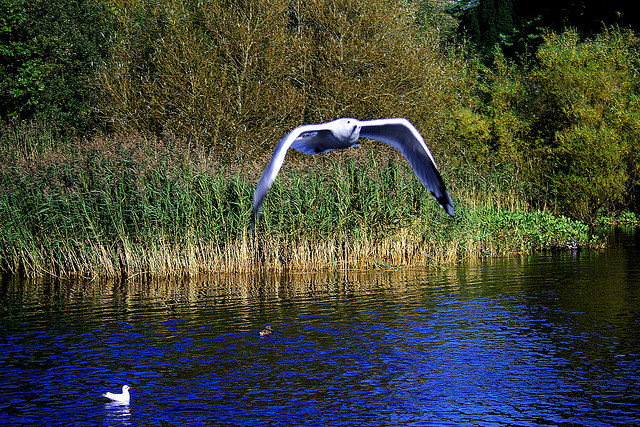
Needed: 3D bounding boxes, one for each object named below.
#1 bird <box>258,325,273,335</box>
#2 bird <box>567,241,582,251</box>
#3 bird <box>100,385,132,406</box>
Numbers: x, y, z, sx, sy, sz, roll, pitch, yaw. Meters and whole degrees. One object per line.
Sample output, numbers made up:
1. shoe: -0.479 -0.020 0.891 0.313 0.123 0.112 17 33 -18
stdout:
1. bird: -1.185 2.545 21.275 0.287 0.178 0.549 -3 1 2
2. bird: 7.844 1.036 30.196 0.282 0.252 0.123 10 23 15
3. bird: -3.853 3.501 18.667 0.569 0.394 0.292 -1 -1 2
